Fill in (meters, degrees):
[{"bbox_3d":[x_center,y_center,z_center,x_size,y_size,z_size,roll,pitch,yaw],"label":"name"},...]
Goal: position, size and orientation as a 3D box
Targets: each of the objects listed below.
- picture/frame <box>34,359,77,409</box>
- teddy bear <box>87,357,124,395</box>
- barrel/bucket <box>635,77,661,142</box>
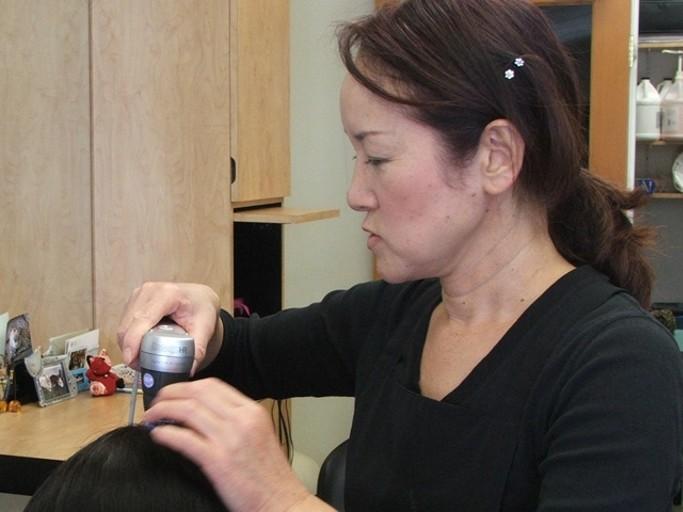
[{"bbox_3d":[-0.817,0.355,1.877,0.011,0.126,0.122,-12,1,28],"label":"picture/frame"},{"bbox_3d":[-0.714,0.355,1.967,0.100,0.136,0.057,-9,-12,-42],"label":"teddy bear"},{"bbox_3d":[1.518,-0.724,3.297,0.159,0.304,0.164,-2,7,0],"label":"barrel/bucket"}]
